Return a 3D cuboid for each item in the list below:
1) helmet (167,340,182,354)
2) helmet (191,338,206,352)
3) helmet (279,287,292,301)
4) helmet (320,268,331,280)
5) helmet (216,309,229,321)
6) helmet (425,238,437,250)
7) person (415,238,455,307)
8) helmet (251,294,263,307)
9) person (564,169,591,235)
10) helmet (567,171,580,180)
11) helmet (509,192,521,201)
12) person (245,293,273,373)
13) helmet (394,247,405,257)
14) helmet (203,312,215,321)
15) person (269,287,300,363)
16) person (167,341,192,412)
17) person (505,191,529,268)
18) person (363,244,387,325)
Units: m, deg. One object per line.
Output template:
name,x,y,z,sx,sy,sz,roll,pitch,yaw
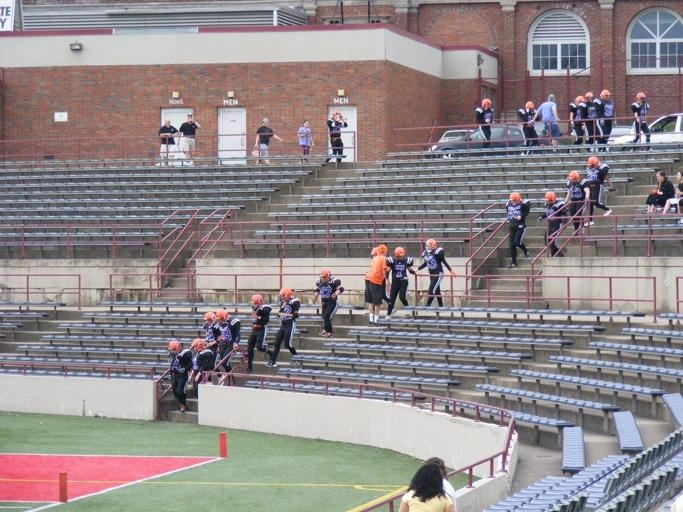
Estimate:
helmet,-4.470,2.341,52.554,0.287,0.284,0.330,3,43,9
helmet,-3.843,2.300,52.693,0.350,0.280,0.263,4,4,5
helmet,-1.638,1.018,52.770,0.274,0.330,0.328,5,-1,22
helmet,-0.555,0.530,53.004,0.224,0.263,0.269,0,18,0
helmet,-3.212,1.546,52.710,0.238,0.234,0.297,7,18,28
helmet,2.219,-0.258,53.499,0.228,0.223,0.277,-5,-25,2
person,2.383,0.499,53.731,0.864,1.785,0.769,-1,2,28
helmet,-2.326,1.182,52.802,0.247,0.280,0.312,-5,-9,2
person,6.111,-1.378,54.093,0.452,1.600,0.579,-3,3,-44
helmet,6.040,-2.058,54.103,0.289,0.315,0.379,0,-6,5
helmet,4.443,-1.455,53.916,0.255,0.268,0.325,-4,-18,19
person,-2.311,1.988,52.923,0.653,1.885,0.552,-4,1,-5
helmet,1.395,-0.053,53.250,0.208,0.196,0.263,2,-10,-16
helmet,-3.550,1.567,52.860,0.259,0.219,0.189,-34,25,-21
person,-1.515,1.839,52.940,0.717,1.921,0.593,1,2,45
person,-4.290,3.059,52.468,0.592,1.706,0.500,-3,0,38
person,4.551,-0.656,54.100,0.637,1.874,0.539,1,3,33
person,0.760,0.800,53.300,0.602,1.924,0.468,3,2,18
